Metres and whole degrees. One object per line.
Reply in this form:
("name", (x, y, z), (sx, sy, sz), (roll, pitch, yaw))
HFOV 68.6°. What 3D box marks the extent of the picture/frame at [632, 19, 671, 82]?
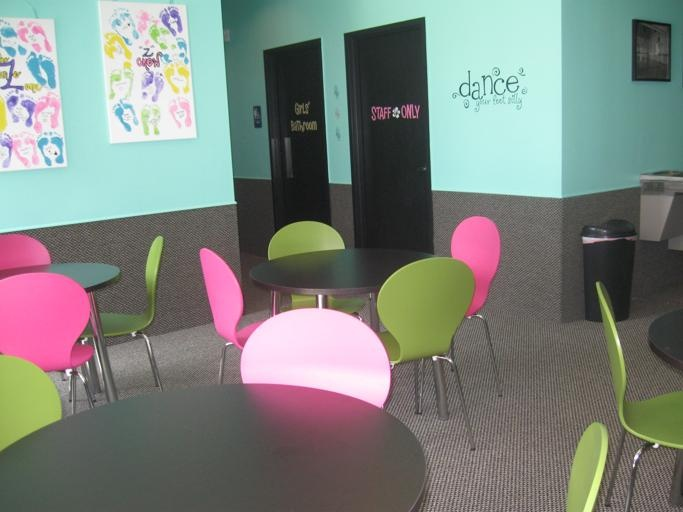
("picture/frame", (2.688, -1.783, 4.365), (0.477, 0.531, 0.027), (-8, 8, -23))
